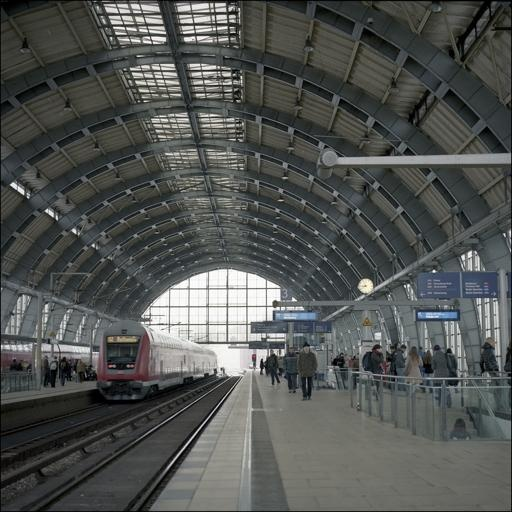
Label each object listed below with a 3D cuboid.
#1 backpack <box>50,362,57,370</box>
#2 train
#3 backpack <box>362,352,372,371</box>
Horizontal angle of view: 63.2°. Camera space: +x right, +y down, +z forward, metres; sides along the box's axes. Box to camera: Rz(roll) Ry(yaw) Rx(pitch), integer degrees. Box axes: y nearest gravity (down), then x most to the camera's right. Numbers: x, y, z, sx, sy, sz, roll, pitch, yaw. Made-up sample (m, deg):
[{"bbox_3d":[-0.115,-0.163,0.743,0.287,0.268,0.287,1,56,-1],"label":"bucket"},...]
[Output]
[{"bbox_3d":[-14.922,7.941,30.447,0.324,0.617,0.585,2,-16,-10],"label":"backpack"},{"bbox_3d":[-7.420,9.496,37.544,3.251,5.529,27.646,-2,-14,4],"label":"train"},{"bbox_3d":[4.269,4.088,16.162,0.280,0.859,0.566,7,6,35],"label":"backpack"}]
